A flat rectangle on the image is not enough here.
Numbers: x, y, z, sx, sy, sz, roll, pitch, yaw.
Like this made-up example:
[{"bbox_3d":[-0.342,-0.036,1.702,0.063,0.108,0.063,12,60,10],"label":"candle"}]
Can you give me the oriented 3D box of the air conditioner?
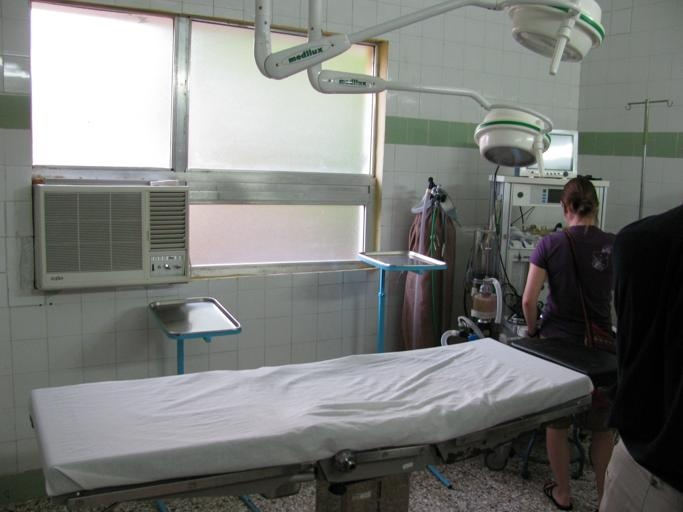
[{"bbox_3d":[-1.427,-0.198,3.551,0.891,0.717,0.465,-2,21,-26],"label":"air conditioner"}]
